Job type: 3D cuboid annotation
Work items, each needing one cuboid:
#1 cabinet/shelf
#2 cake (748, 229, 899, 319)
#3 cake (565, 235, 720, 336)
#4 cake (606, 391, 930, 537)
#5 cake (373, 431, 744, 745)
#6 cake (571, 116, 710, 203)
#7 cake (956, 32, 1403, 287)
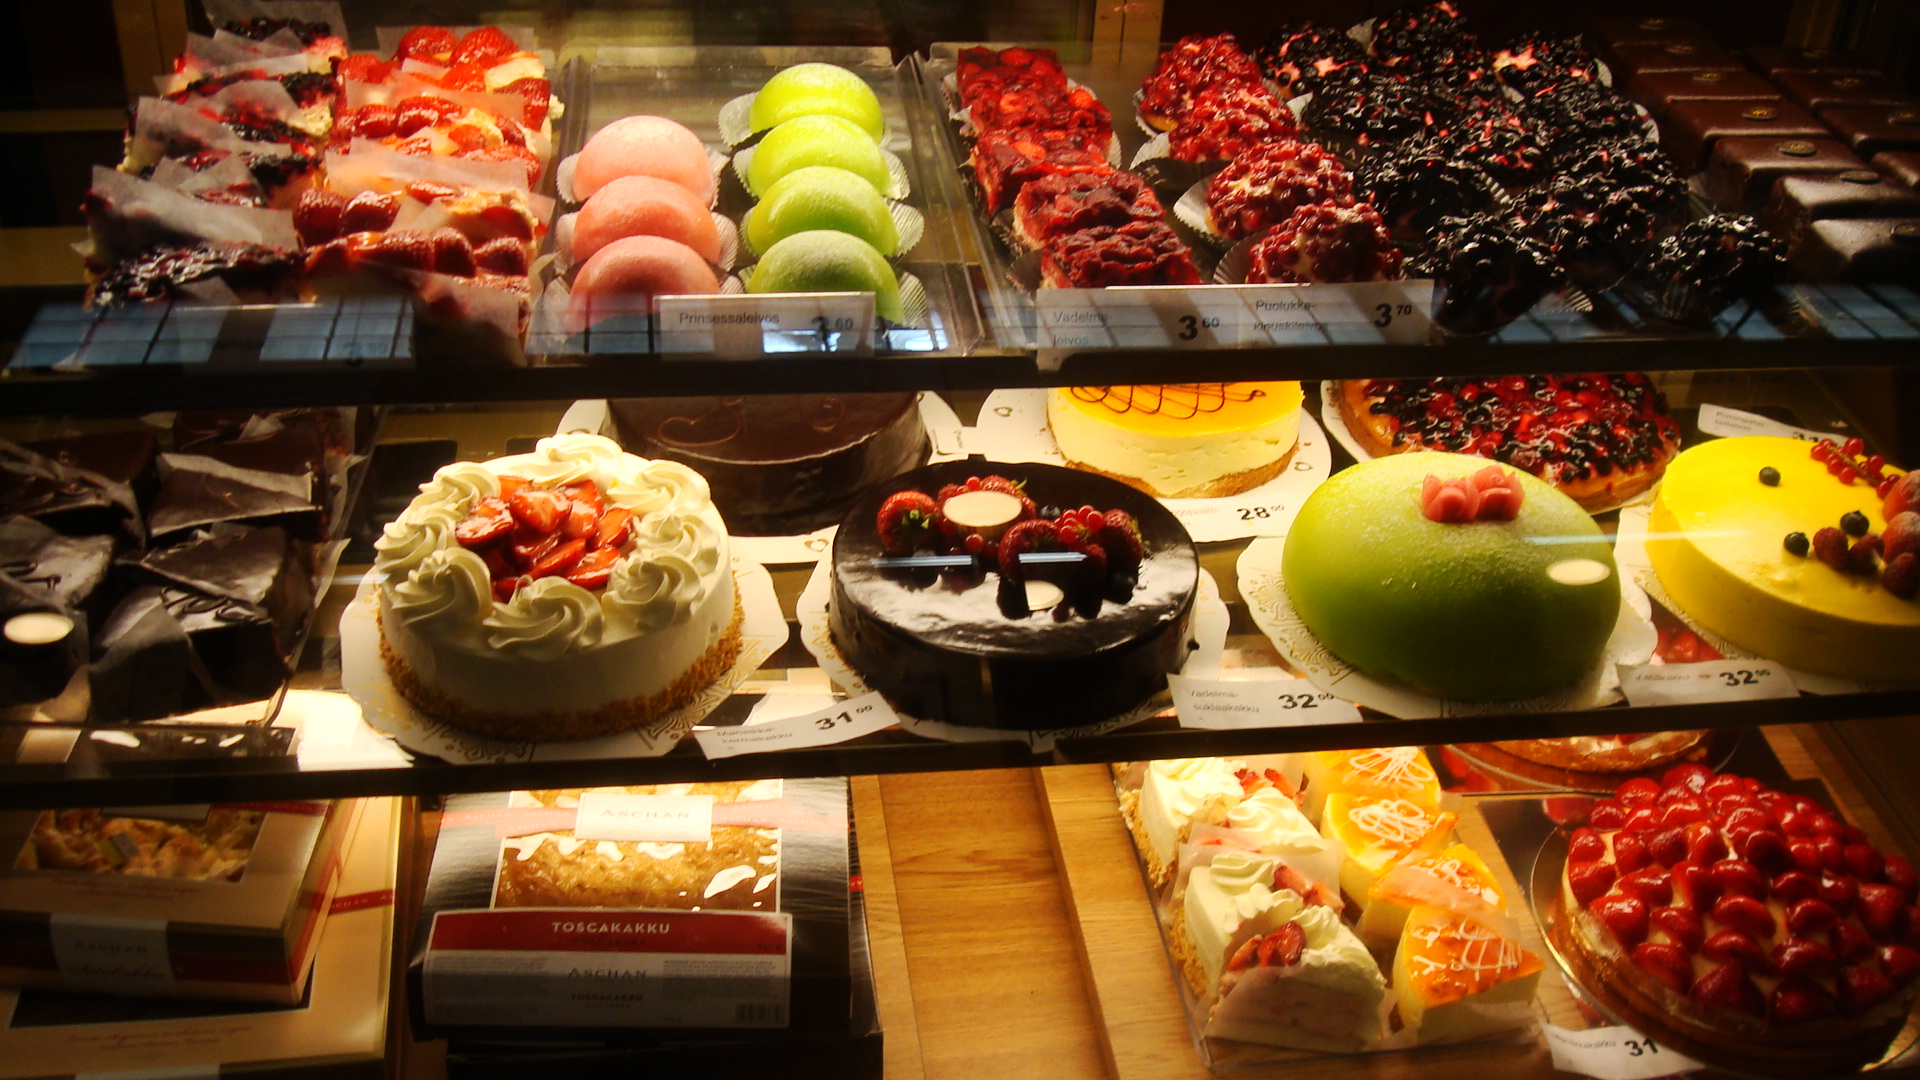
[{"bbox_3d":[-0.249,-0.134,4.061,5.649,2.364,2.703,-2,16,-4],"label":"cabinet/shelf"},{"bbox_3d":[-0.297,-0.606,2.782,0.265,0.088,0.282,6,30,2],"label":"cake"},{"bbox_3d":[-0.708,-0.560,2.752,0.255,0.143,0.279,3,13,19],"label":"cake"},{"bbox_3d":[-0.458,-0.255,3.288,0.532,0.111,0.507,-17,26,-27],"label":"cake"},{"bbox_3d":[-0.905,0.132,2.971,0.678,0.385,0.753,25,43,23],"label":"cake"},{"bbox_3d":[-0.802,-0.970,3.140,0.307,0.160,0.241,-13,40,-26],"label":"cake"},{"bbox_3d":[0.502,-0.869,3.064,0.934,0.252,0.642,-4,53,-15],"label":"cake"}]
